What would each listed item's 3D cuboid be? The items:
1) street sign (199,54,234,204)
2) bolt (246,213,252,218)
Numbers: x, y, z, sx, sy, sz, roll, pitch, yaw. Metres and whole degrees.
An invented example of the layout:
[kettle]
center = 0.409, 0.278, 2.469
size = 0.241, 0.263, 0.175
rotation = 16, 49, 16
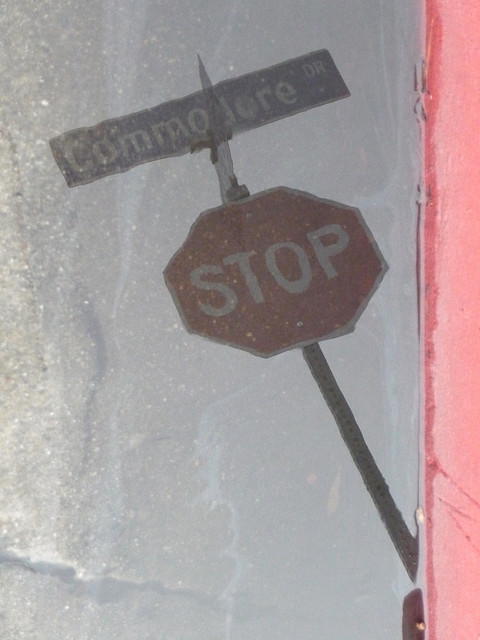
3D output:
[street sign]
center = -0.165, -1.277, 9.306
size = 0.147, 1.086, 0.084
rotation = -10, 0, -19
[bolt]
center = 0.061, -0.706, 9.214
size = 0.031, 0.037, 0.008
rotation = -2, -1, 2
